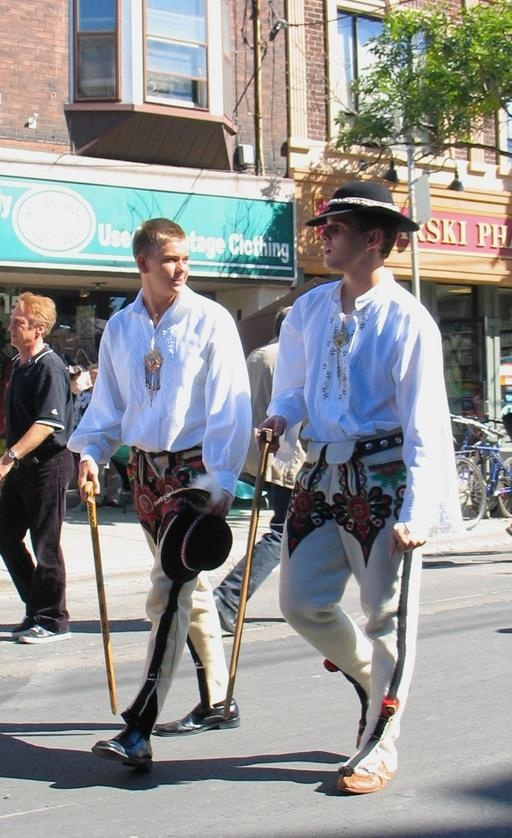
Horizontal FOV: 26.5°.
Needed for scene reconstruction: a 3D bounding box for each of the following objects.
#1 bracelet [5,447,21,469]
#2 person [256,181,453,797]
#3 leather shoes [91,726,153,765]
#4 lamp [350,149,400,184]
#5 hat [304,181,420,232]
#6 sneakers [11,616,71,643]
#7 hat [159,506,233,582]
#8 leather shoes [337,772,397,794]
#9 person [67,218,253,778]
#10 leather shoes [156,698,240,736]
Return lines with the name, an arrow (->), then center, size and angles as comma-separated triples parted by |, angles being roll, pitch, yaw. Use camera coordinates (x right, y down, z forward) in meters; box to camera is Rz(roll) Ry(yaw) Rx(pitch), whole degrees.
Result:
bracelet -> -1.352, 0.223, 6.116 | 0.069, 0.103, 0.097 | -27, -16, -32
person -> 0.318, 0.374, 3.739 | 0.679, 1.757, 0.379 | -1, 1, 36
leather shoes -> -0.461, 1.148, 3.811 | 0.114, 0.091, 0.197 | -2, -25, 34
lamp -> 1.828, -3.757, 16.234 | 0.466, 0.499, 0.862 | -1, 0, 27
hat -> 0.404, -0.727, 3.708 | 0.274, 0.095, 0.227 | 3, -1, -25
sneakers -> -1.246, 1.243, 6.354 | 0.327, 0.124, 0.120 | 10, -14, -33
hat -> -0.234, 0.433, 3.919 | 0.235, 0.256, 0.113 | 24, 3, -23
leather shoes -> 0.349, 1.192, 3.613 | 0.149, 0.043, 0.091 | 11, -15, -41
person -> -0.350, 0.251, 4.066 | 0.668, 1.332, 0.665 | -1, 1, -9
leather shoes -> -0.225, 1.211, 4.448 | 0.412, 0.150, 0.129 | 1, -10, -18
